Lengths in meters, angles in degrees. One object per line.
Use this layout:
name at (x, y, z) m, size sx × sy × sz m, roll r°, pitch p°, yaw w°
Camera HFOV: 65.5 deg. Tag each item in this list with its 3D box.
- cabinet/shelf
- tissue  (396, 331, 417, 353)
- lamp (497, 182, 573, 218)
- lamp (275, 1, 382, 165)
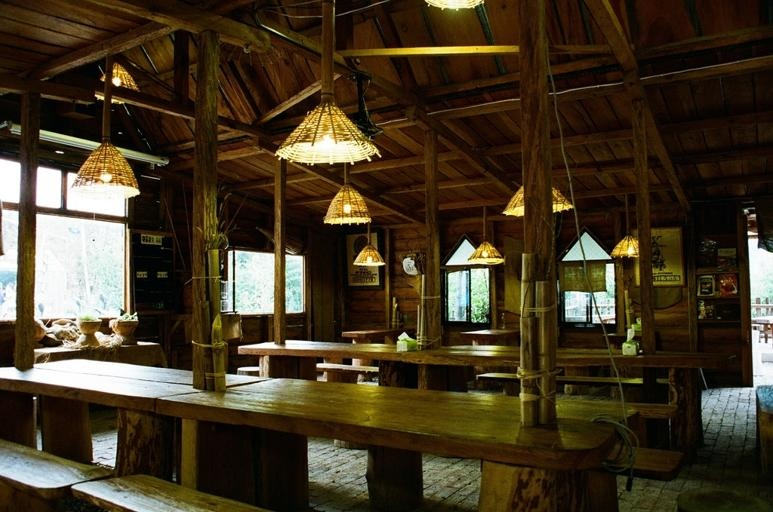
cabinet/shelf at (6.062, 0.810, 10.952) m, size 0.775 × 2.357 × 0.396 m, roll 2°, pitch 5°, yaw 25°
tissue  at (0.240, 1.042, 7.315) m, size 0.216 × 0.260 × 0.275 m, roll -1°, pitch -1°, yaw -23°
lamp at (1.808, -0.617, 7.208) m, size 0.959 × 0.358 × 0.955 m, roll 1°, pitch -4°, yaw -7°
lamp at (-0.450, -1.346, 4.572) m, size 0.754 × 1.251 × 0.361 m, roll 0°, pitch 4°, yaw -8°
